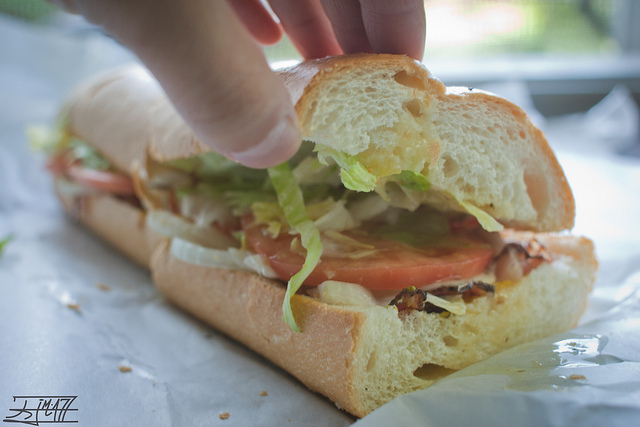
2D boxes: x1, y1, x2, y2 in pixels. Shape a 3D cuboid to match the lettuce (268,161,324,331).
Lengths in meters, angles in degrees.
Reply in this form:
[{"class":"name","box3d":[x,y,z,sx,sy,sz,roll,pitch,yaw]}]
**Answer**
[{"class":"lettuce","box3d":[-0.104,0.085,1.962,0.101,0.132,0.678,-31,61,34]}]
